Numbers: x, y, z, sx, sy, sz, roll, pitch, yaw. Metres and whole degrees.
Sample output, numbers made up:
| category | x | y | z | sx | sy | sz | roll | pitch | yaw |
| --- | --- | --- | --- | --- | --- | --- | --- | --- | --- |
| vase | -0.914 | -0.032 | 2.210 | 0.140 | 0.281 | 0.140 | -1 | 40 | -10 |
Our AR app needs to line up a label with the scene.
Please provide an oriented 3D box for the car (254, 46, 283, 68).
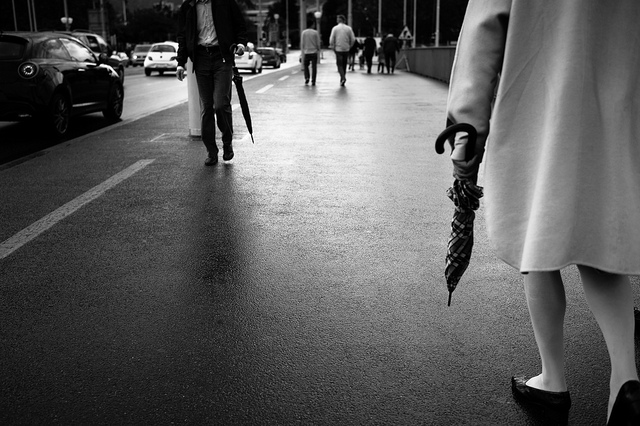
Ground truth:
| category | x | y | z | sx | sy | sz | roll | pitch | yaw |
| --- | --- | --- | --- | --- | --- | --- | --- | --- | --- |
| car | -5.364 | -15.544 | 51.104 | 2.942 | 2.112 | 5.648 | 0 | 24 | 0 |

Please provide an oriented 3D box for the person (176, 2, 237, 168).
| category | x | y | z | sx | sy | sz | roll | pitch | yaw |
| --- | --- | --- | --- | --- | --- | --- | --- | --- | --- |
| person | -1.671 | -1.914 | 7.383 | 0.904 | 2.312 | 0.597 | -1 | 15 | -5 |

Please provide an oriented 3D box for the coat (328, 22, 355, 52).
| category | x | y | z | sx | sy | sz | roll | pitch | yaw |
| --- | --- | --- | --- | --- | --- | --- | --- | --- | --- |
| coat | 1.068 | -8.467 | 23.854 | 1.084 | 1.385 | 3.127 | 0 | 17 | 2 |

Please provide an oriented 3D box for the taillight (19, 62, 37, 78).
| category | x | y | z | sx | sy | sz | roll | pitch | yaw |
| --- | --- | --- | --- | --- | --- | --- | --- | --- | --- |
| taillight | -5.859 | -2.840 | 9.865 | 0.308 | 0.273 | 0.176 | -10 | 18 | -31 |

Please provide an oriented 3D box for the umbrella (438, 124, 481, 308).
| category | x | y | z | sx | sy | sz | roll | pitch | yaw |
| --- | --- | --- | --- | --- | --- | --- | --- | --- | --- |
| umbrella | 0.638 | 0.041 | 2.305 | 0.193 | 0.911 | 0.166 | 9 | 17 | 27 |

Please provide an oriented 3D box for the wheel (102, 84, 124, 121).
| category | x | y | z | sx | sy | sz | roll | pitch | yaw |
| --- | --- | --- | --- | --- | --- | --- | --- | --- | --- |
| wheel | -5.358 | -2.830 | 12.635 | 0.427 | 0.846 | 0.888 | -3 | 16 | -11 |

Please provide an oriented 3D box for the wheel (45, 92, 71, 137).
| category | x | y | z | sx | sy | sz | roll | pitch | yaw |
| --- | --- | --- | --- | --- | --- | --- | --- | --- | --- |
| wheel | -5.466 | -2.034 | 10.240 | 0.286 | 0.851 | 0.872 | -2 | 16 | -8 |

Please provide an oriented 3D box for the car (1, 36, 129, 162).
| category | x | y | z | sx | sy | sz | roll | pitch | yaw |
| --- | --- | --- | --- | --- | --- | --- | --- | --- | --- |
| car | -6.093 | -2.692 | 10.839 | 2.044 | 1.756 | 4.210 | 3 | 20 | 9 |

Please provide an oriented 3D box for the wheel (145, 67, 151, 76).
| category | x | y | z | sx | sy | sz | roll | pitch | yaw |
| --- | --- | --- | --- | --- | --- | --- | --- | --- | --- |
| wheel | -11.615 | -9.420 | 33.078 | 0.255 | 0.480 | 0.634 | -5 | 17 | -18 |

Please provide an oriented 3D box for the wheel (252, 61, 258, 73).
| category | x | y | z | sx | sy | sz | roll | pitch | yaw |
| --- | --- | --- | --- | --- | --- | --- | --- | --- | --- |
| wheel | -4.934 | -10.944 | 37.091 | 0.314 | 0.906 | 0.908 | 3 | 14 | 5 |

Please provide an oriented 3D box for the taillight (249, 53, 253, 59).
| category | x | y | z | sx | sy | sz | roll | pitch | yaw |
| --- | --- | --- | --- | --- | --- | --- | --- | --- | --- |
| taillight | -5.060 | -11.460 | 36.163 | 0.296 | 0.542 | 0.311 | 6 | 63 | -9 |

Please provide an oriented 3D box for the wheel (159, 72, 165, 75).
| category | x | y | z | sx | sy | sz | roll | pitch | yaw |
| --- | --- | --- | --- | --- | --- | --- | --- | --- | --- |
| wheel | -10.972 | -9.580 | 34.033 | 0.232 | 0.152 | 0.922 | -4 | 18 | -13 |
